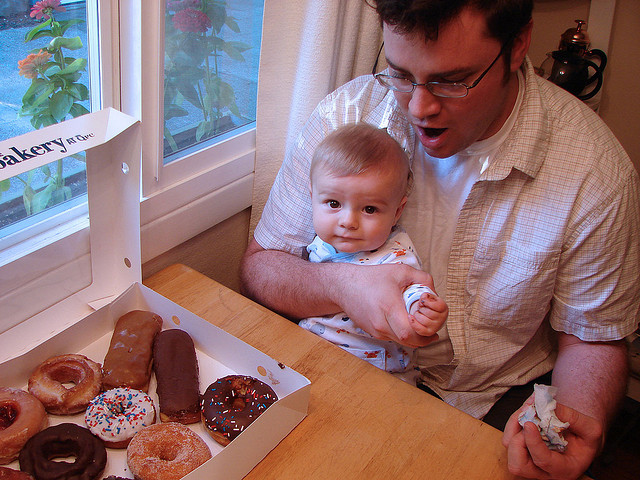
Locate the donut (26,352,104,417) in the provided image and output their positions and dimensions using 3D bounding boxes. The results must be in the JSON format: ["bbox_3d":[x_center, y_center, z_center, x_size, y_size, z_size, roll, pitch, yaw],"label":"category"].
[{"bbox_3d":[-0.466,0.266,0.897,0.121,0.048,0.120,27,27,3],"label":"donut"}]

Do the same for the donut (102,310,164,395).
[{"bbox_3d":[-0.373,0.218,0.967,0.090,0.051,0.167,8,46,-9],"label":"donut"}]

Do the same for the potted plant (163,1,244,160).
[{"bbox_3d":[-0.311,-0.423,1.270,0.213,0.347,0.195,41,57,11],"label":"potted plant"}]

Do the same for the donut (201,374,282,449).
[{"bbox_3d":[-0.153,0.304,0.888,0.112,0.058,0.128,26,41,31],"label":"donut"}]

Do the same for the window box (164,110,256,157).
[{"bbox_3d":[-0.292,-0.321,1.379,0.013,0.063,0.319,21,38,26],"label":"window box"}]

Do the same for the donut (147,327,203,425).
[{"bbox_3d":[-0.276,0.252,0.943,0.095,0.046,0.190,-13,53,-12],"label":"donut"}]

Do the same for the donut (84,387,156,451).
[{"bbox_3d":[-0.358,0.312,0.865,0.037,0.107,0.093,20,64,25],"label":"donut"}]
